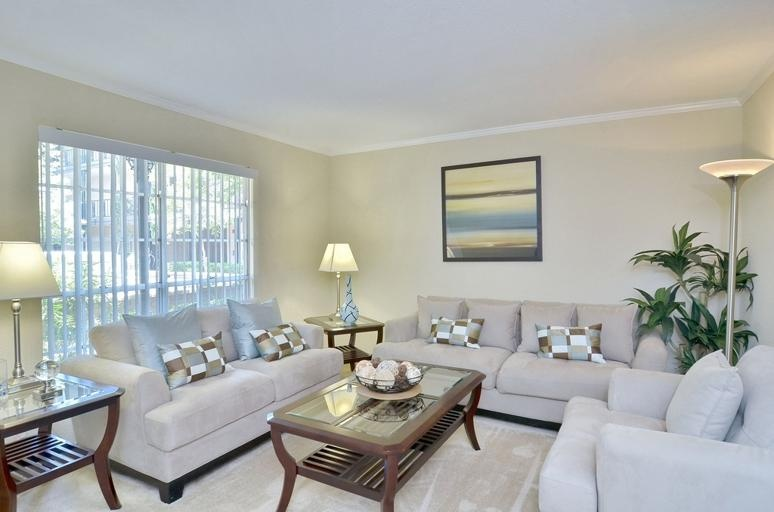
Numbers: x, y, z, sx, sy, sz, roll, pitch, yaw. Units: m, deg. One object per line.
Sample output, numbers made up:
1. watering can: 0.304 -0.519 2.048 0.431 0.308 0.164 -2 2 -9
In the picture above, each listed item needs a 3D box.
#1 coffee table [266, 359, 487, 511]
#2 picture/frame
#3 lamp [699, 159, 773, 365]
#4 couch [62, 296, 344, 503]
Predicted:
1. coffee table: -0.168 0.956 3.858 1.002 0.624 1.515 0 3 31
2. picture/frame: 1.303 -0.568 6.078 1.364 1.295 0.051 -1 2 28
3. lamp: 3.113 0.025 4.532 0.537 1.889 1.030 0 2 32
4. couch: -1.634 1.228 4.499 1.338 1.257 2.481 -3 -2 26
